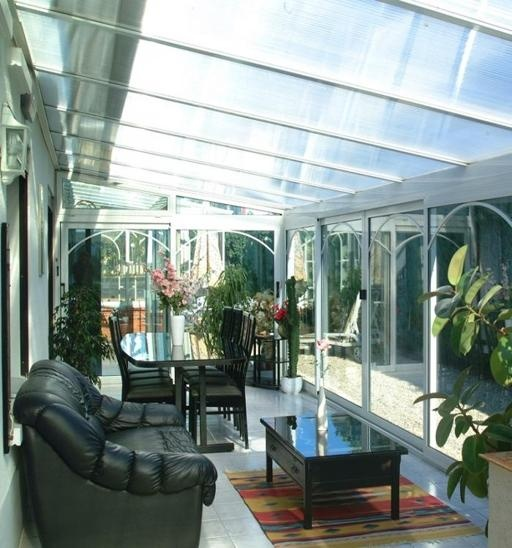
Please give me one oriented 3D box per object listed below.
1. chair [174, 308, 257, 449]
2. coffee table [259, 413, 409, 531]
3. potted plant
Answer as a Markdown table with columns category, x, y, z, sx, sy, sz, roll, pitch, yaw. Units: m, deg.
| category | x | y | z | sx | sy | sz | roll | pitch | yaw |
| --- | --- | --- | --- | --- | --- | --- | --- | --- | --- |
| chair | -0.399 | 1.094 | 4.948 | 0.468 | 0.941 | 1.325 | 1 | -2 | -5 |
| coffee table | 0.548 | 1.320 | 3.457 | 0.767 | 0.580 | 0.972 | 0 | -1 | -14 |
| potted plant | 0.455 | 0.874 | 6.926 | 0.390 | 1.652 | 0.767 | 0 | -1 | 5 |
